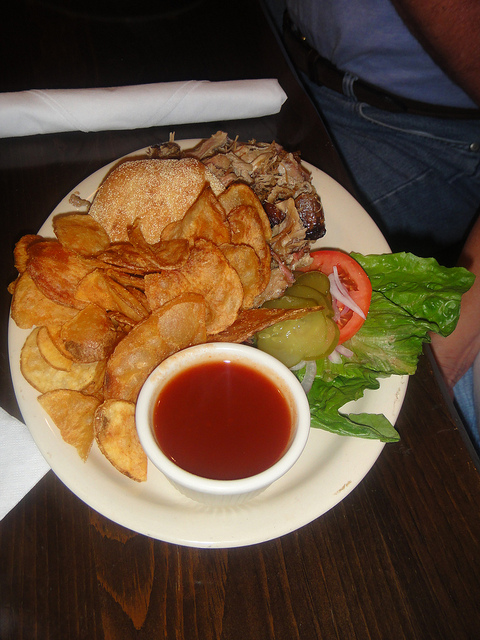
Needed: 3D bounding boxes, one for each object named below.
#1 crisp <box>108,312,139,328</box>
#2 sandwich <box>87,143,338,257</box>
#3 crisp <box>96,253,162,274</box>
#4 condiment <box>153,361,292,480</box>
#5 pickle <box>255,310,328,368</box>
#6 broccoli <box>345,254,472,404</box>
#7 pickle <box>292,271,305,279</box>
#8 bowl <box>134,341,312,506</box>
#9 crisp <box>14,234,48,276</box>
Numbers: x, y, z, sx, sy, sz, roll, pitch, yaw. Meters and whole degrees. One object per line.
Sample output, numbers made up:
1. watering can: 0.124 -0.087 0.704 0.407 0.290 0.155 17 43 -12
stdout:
1. crisp: -0.295 -0.002 1.328 0.050 0.051 0.013 19 89 50
2. sandwich: -0.076 -0.371 1.655 0.601 0.126 0.379 -5 60 -14
3. crisp: -0.278 -0.142 1.352 0.084 0.087 0.017 23 93 39
4. condiment: -0.064 0.285 1.352 0.257 0.259 0.337 22 63 8
5. pickle: 0.136 0.061 1.464 0.190 0.031 0.133 -29 99 8
6. broccoli: 0.485 0.027 1.618 0.397 0.141 0.401 12 92 26
7. pickle: 0.178 -0.145 1.687 0.023 0.007 0.025 6 44 9
8. bowl: -0.040 0.217 1.213 0.382 0.068 0.361 2 55 -2
9. crisp: -0.556 -0.179 1.380 0.099 0.031 0.108 2 75 -17
